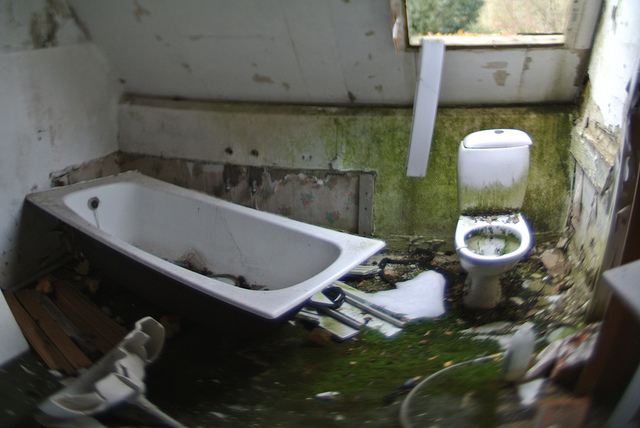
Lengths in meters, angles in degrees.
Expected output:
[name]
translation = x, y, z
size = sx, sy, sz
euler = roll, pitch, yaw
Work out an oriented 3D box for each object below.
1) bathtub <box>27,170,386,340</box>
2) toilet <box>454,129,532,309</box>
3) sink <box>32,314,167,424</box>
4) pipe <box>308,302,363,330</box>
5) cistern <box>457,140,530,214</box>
[bathtub]
translation = -0.760, 0.233, 2.605
size = 2.133, 0.620, 0.700
euler = 11, 25, 27
[toilet]
translation = 1.067, 0.043, 2.643
size = 0.469, 1.046, 0.645
euler = 6, 24, 17
[sink]
translation = -1.110, 0.847, 2.236
size = 0.430, 0.307, 0.656
euler = 15, 27, 33
[pipe]
translation = 0.087, 0.637, 2.595
size = 0.279, 0.030, 0.047
euler = 24, 0, 24
[cistern]
translation = 1.231, -0.224, 2.822
size = 0.288, 0.487, 0.536
euler = -4, 6, -43
